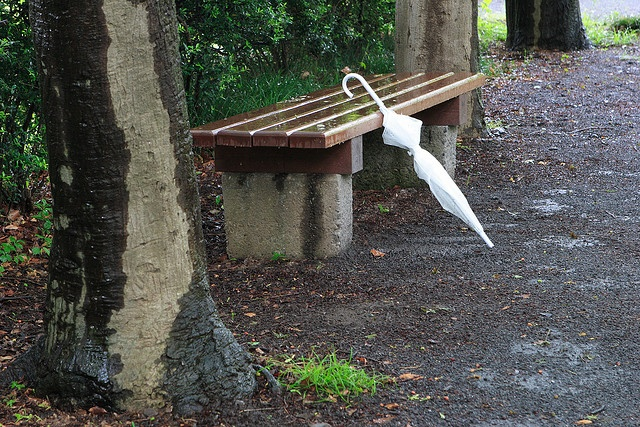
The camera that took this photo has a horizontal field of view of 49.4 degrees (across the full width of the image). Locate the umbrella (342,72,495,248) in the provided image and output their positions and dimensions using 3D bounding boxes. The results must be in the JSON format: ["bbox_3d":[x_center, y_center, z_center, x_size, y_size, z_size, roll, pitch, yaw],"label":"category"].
[{"bbox_3d":[0.839,-0.449,6.230,0.464,0.464,2.080,-23,63,-35],"label":"umbrella"}]
